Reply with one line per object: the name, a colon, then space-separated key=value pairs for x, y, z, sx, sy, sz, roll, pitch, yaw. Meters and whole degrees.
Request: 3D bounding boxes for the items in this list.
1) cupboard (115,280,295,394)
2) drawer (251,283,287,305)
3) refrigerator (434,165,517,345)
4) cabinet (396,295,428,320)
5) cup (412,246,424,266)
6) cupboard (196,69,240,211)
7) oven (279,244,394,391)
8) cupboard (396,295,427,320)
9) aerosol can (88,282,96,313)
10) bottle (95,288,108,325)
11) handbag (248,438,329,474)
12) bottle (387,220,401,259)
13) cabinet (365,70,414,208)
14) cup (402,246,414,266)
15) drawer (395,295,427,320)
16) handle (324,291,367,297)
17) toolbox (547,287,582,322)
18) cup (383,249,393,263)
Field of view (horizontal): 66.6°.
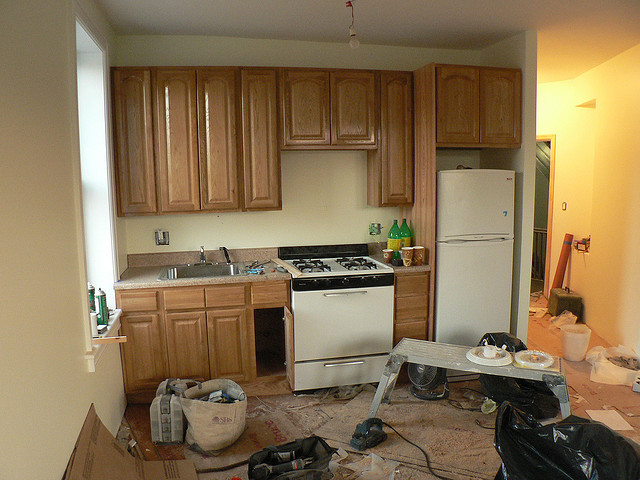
cupboard: x=-1.017 y=0.372 z=4.185 sx=1.687 sy=1.031 sz=0.848 roll=-2 pitch=1 yaw=-13
drawer: x=-0.411 y=0.438 z=3.953 sx=0.255 sy=0.165 sz=0.153 roll=-1 pitch=-4 yaw=-3
refrigerator: x=1.351 y=0.190 z=4.434 sx=0.673 sy=1.586 sz=0.563 roll=-3 pitch=24 yaw=6
cabinet: x=0.783 y=0.573 z=4.229 sx=0.348 sy=0.210 sz=0.184 roll=-1 pitch=11 yaw=-10
cup: x=0.840 y=0.142 z=4.222 sx=0.140 sy=0.191 sz=0.140 roll=0 pitch=6 yaw=0
cupboard: x=-0.847 y=-0.820 z=4.029 sx=0.317 sy=1.136 sz=0.220 roll=-1 pitch=15 yaw=-7
oven: x=0.111 y=0.612 z=4.343 sx=0.940 sy=1.181 sz=0.791 roll=-1 pitch=14 yaw=-16
cupboard: x=0.779 y=0.494 z=4.196 sx=0.346 sy=0.227 sz=0.183 roll=-1 pitch=10 yaw=-12
aerosol can: x=-1.558 y=0.412 z=3.334 sx=0.034 sy=0.187 sz=0.210 roll=-6 pitch=16 yaw=-25
bottle: x=-1.548 y=0.475 z=3.446 sx=0.071 sy=0.234 sz=0.153 roll=-5 pitch=16 yaw=-22
handbag: x=-0.189 y=1.351 z=3.029 sx=0.309 sy=0.109 sz=0.237 roll=1 pitch=-3 yaw=-16
bottle: x=0.668 y=-0.003 z=4.405 sx=0.116 sy=0.308 sz=0.356 roll=2 pitch=14 yaw=6
cabinet: x=0.614 y=-0.887 z=4.472 sx=0.392 sy=1.184 sz=0.353 roll=-2 pitch=7 yaw=-10
cup: x=0.760 y=0.146 z=4.224 sx=0.104 sy=0.146 sz=0.095 roll=1 pitch=14 yaw=0
drawer: x=0.775 y=0.574 z=4.203 sx=0.338 sy=0.207 sz=0.181 roll=-2 pitch=13 yaw=-9
handle: x=0.212 y=0.442 z=3.973 sx=0.360 sy=0.040 sz=0.027 roll=-3 pitch=15 yaw=-15
toolbox: x=2.951 y=0.794 z=5.900 sx=0.273 sy=0.409 sz=0.476 roll=3 pitch=7 yaw=13
cup: x=0.597 y=0.146 z=4.369 sx=0.100 sy=0.099 sz=0.099 roll=0 pitch=2 yaw=0
